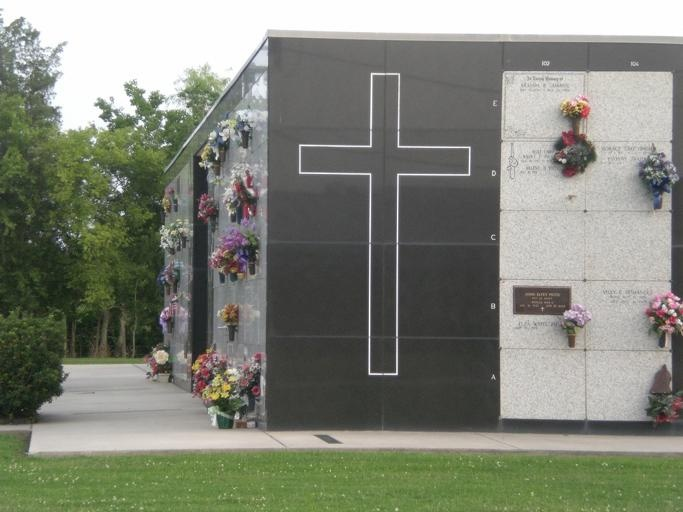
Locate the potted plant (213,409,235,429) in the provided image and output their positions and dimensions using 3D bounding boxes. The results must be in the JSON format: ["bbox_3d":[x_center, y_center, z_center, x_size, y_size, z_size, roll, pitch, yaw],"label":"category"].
[{"bbox_3d":[-2.322,3.232,22.562,0.318,0.247,0.318,1,-6,10],"label":"potted plant"}]
